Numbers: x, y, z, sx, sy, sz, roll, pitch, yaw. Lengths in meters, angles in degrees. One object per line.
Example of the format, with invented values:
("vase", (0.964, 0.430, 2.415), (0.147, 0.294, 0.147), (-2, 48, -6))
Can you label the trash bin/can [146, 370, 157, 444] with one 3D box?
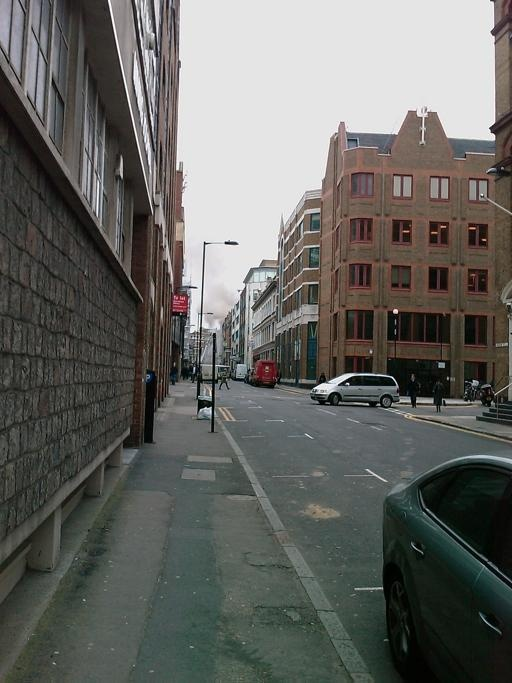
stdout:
("trash bin/can", (-2.684, 1.723, 13.728), (0.158, 1.864, 0.291), (0, 0, 16))

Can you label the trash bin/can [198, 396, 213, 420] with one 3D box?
("trash bin/can", (-1.981, 2.586, 20.334), (0.561, 1.339, 0.708), (1, 2, -2))

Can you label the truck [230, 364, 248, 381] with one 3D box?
("truck", (-2.671, 5.729, 91.738), (1.961, 2.812, 4.309), (1, 0, -4))

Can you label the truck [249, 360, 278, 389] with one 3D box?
("truck", (0.963, 3.951, 63.163), (1.633, 2.608, 4.019), (2, 0, -5))

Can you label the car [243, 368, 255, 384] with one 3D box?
("car", (-1.152, 5.224, 77.477), (0.923, 1.762, 2.362), (2, 1, 0))

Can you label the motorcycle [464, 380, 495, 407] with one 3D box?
("motorcycle", (15.807, 3.821, 38.171), (1.077, 1.942, 2.837), (4, -10, 6))

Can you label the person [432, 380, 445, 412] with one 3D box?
("person", (9.985, 3.071, 29.426), (0.409, 1.623, 1.559), (-1, -3, 22))
